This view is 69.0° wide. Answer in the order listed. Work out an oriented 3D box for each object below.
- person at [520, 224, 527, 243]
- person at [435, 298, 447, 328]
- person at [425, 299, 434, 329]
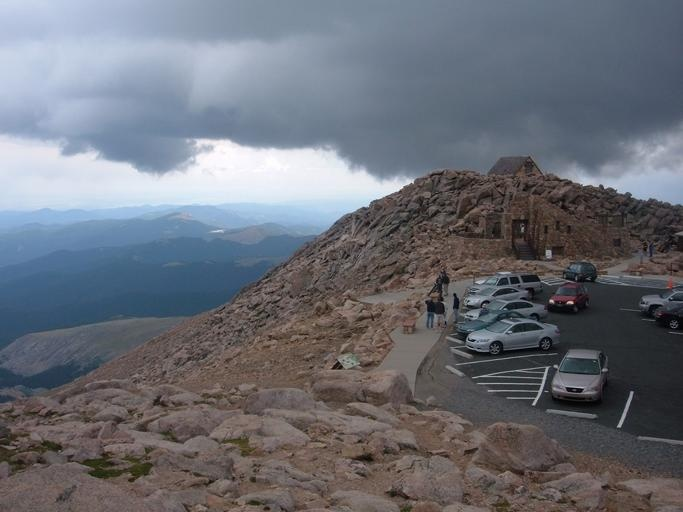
[{"bbox_3d":[19.091,-2.492,51.831,0.702,1.755,0.241,7,2,41],"label":"person"},{"bbox_3d":[5.618,3.297,27.923,0.584,1.550,1.000,6,2,10],"label":"person"},{"bbox_3d":[5.083,3.341,28.076,0.468,1.532,1.262,6,2,10],"label":"person"}]
